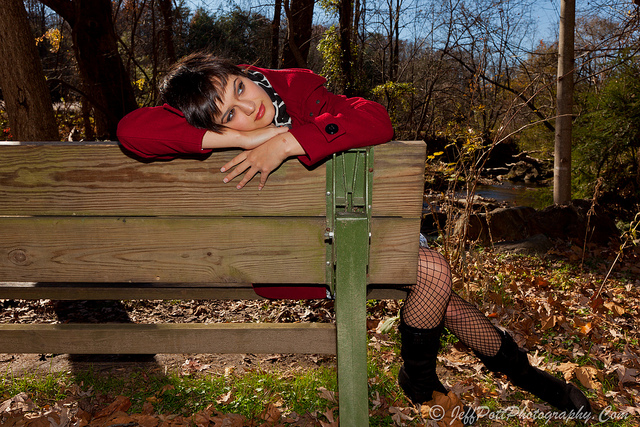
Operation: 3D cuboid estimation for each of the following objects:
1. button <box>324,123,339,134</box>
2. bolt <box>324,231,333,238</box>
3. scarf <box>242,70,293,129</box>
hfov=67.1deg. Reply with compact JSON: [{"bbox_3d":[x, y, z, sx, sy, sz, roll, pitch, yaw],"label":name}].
[{"bbox_3d":[0.068,-0.470,2.670,0.075,0.055,0.051,1,15,-1],"label":"button"},{"bbox_3d":[0.049,0.115,2.649,0.045,0.034,0.011,2,15,3],"label":"bolt"},{"bbox_3d":[-0.287,-0.701,3.005,0.200,0.282,0.402,-12,35,-39],"label":"scarf"}]
